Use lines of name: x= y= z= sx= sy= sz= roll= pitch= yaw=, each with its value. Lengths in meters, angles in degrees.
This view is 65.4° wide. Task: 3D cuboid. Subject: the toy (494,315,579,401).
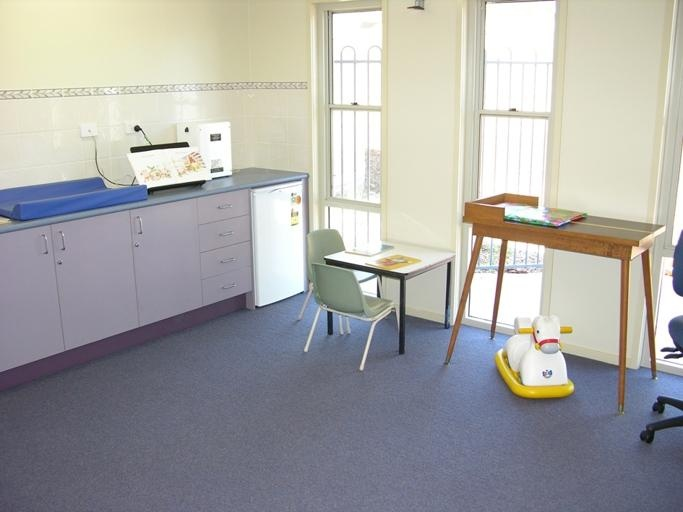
toy: x=1.529 y=0.707 z=4.211 sx=0.490 sy=0.584 sz=0.767 roll=-3 pitch=9 yaw=0

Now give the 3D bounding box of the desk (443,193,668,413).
desk: x=1.697 y=0.333 z=4.301 sx=1.427 sy=1.453 sz=0.817 roll=11 pitch=20 yaw=42

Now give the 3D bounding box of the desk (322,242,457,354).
desk: x=0.484 y=0.112 z=4.840 sx=0.965 sy=0.882 sz=0.999 roll=9 pitch=17 yaw=34

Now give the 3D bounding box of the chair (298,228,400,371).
chair: x=0.093 y=0.414 z=4.779 sx=0.598 sy=1.133 sz=0.765 roll=17 pitch=36 yaw=28
